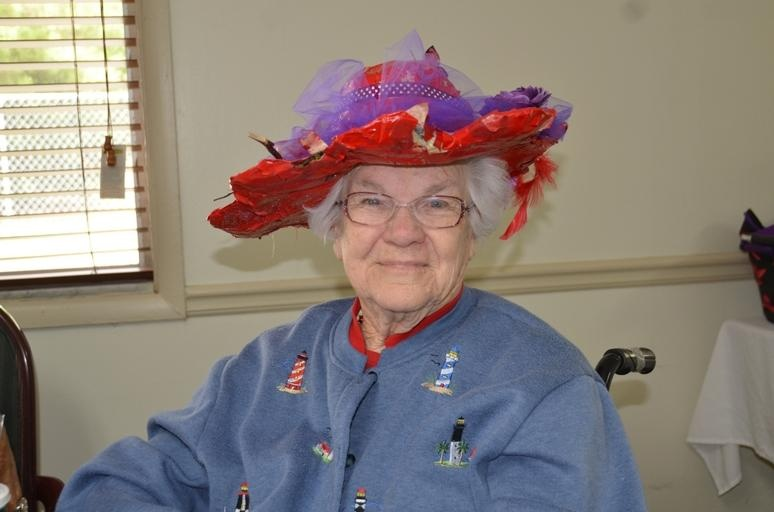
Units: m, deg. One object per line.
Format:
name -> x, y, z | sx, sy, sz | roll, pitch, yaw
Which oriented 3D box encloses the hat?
hat -> -0.006, -0.406, 2.730 | 0.744, 0.352, 0.817 | -15, -9, 29
